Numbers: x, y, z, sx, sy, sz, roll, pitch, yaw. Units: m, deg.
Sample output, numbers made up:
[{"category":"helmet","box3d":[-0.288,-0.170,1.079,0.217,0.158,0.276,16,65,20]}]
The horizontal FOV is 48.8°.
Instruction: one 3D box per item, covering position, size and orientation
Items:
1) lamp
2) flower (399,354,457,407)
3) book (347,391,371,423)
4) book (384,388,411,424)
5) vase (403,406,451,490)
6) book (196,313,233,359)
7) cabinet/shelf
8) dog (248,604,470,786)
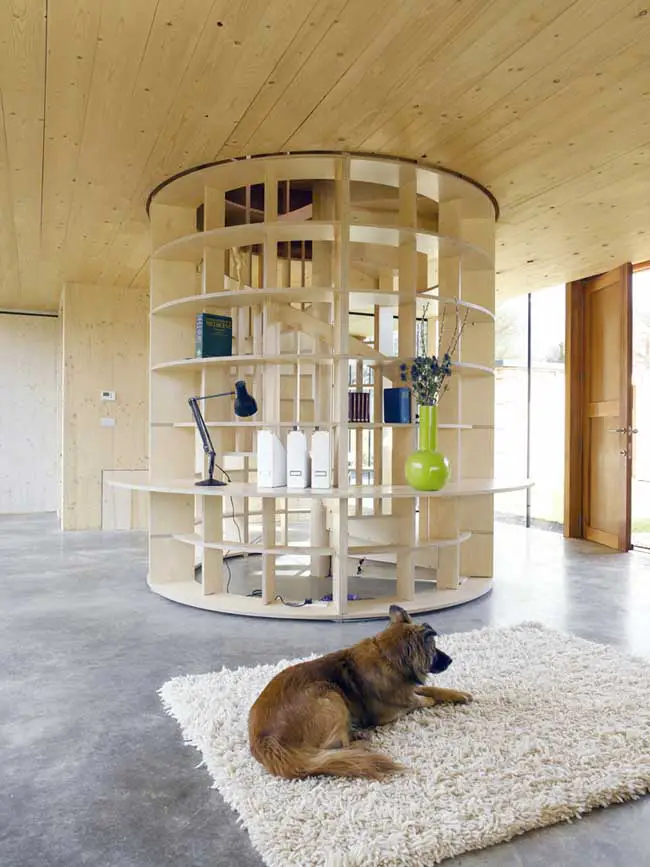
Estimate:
[{"category":"lamp","box3d":[-0.550,0.000,3.867,0.360,0.541,0.784,-1,1,-11]},{"category":"flower","box3d":[0.525,-0.258,3.601,0.262,0.317,0.288,-2,-3,11]},{"category":"book","box3d":[0.163,-0.132,3.845,0.146,0.206,0.146,0,-2,-3]},{"category":"book","box3d":[0.382,-0.138,3.721,0.100,0.180,0.182,0,-1,-19]},{"category":"vase","box3d":[0.497,0.077,3.491,0.180,0.414,0.176,-1,1,-18]},{"category":"book","box3d":[-0.579,-0.501,3.735,0.155,0.258,0.264,1,2,40]},{"category":"cabinet/shelf","box3d":[-0.028,-0.330,4.649,2.102,2.419,2.123,0,8,10]},{"category":"dog","box3d":[0.116,0.719,2.024,0.457,0.289,0.710,-9,-1,43]}]
